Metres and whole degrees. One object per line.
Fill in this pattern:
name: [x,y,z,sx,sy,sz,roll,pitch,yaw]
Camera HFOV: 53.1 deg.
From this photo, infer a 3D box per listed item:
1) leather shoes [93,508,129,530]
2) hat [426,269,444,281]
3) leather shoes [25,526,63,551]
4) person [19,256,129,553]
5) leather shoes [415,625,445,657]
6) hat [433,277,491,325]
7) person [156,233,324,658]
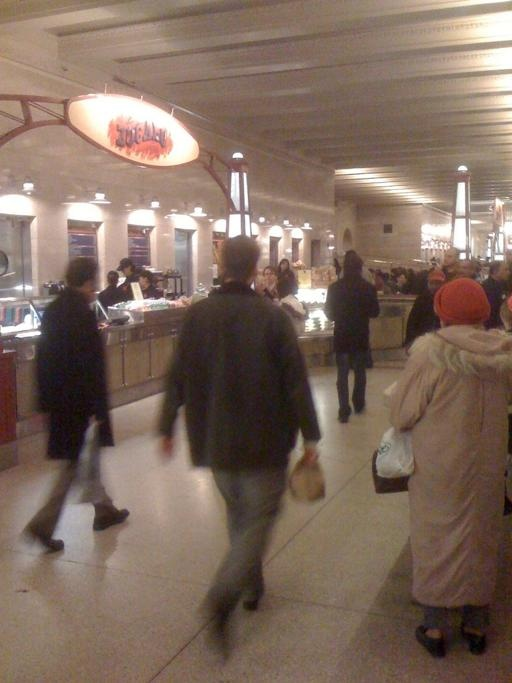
leather shoes: [-0.799,0.963,2.890,0.074,0.098,0.221,7,14,36]
hat: [1.813,-0.658,5.128,0.179,0.107,0.255,1,5,18]
leather shoes: [-1.012,0.959,2.475,0.111,0.182,0.048,-30,31,9]
person: [-0.866,0.308,2.558,0.342,1.454,0.428,1,3,17]
leather shoes: [0.588,0.993,1.731,0.046,0.055,0.139,-1,6,4]
hat: [0.699,-0.142,1.757,0.142,0.183,0.081,9,-30,13]
person: [-0.061,0.289,1.668,0.526,1.190,0.520,1,5,10]
